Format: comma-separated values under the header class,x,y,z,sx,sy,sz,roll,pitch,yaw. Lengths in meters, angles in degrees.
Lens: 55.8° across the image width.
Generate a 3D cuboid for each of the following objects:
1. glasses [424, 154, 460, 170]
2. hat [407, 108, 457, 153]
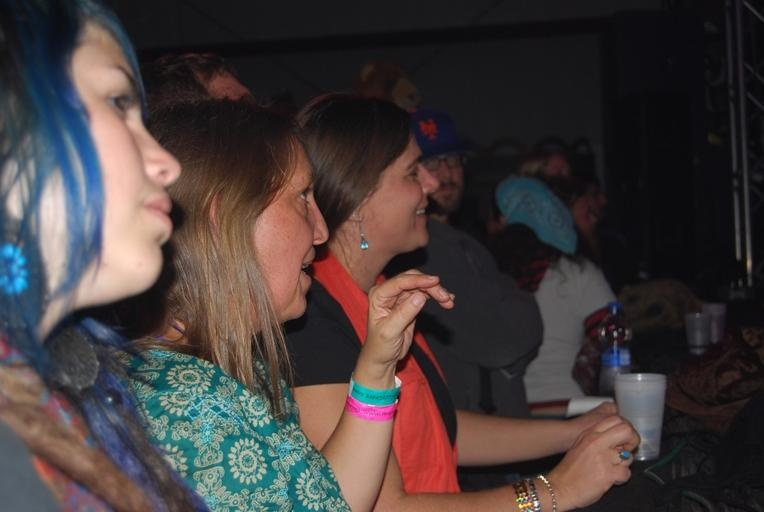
class,x,y,z,sx,sy,sz,roll,pitch,yaw
glasses,0.262,-0.401,3.125,0.130,0.067,0.074,7,-19,-33
hat,0.222,-0.498,2.879,0.163,0.128,0.217,-23,32,-32
